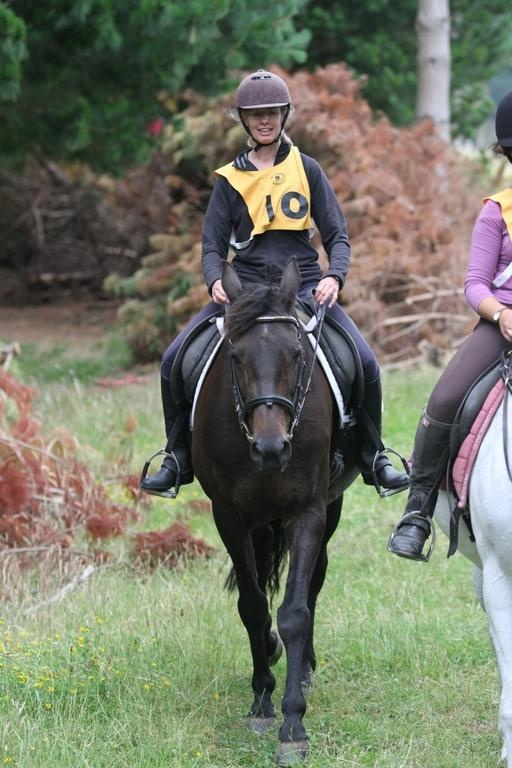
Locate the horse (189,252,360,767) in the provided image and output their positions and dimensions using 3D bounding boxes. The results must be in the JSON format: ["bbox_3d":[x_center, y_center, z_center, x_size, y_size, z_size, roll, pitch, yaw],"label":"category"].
[{"bbox_3d":[0.068,0.526,5.058,0.739,2.268,1.325,3,10,5],"label":"horse"}]

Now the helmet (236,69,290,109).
[{"bbox_3d":[0.043,-1.503,5.270,0.275,0.217,0.249,2,10,-1],"label":"helmet"}]
